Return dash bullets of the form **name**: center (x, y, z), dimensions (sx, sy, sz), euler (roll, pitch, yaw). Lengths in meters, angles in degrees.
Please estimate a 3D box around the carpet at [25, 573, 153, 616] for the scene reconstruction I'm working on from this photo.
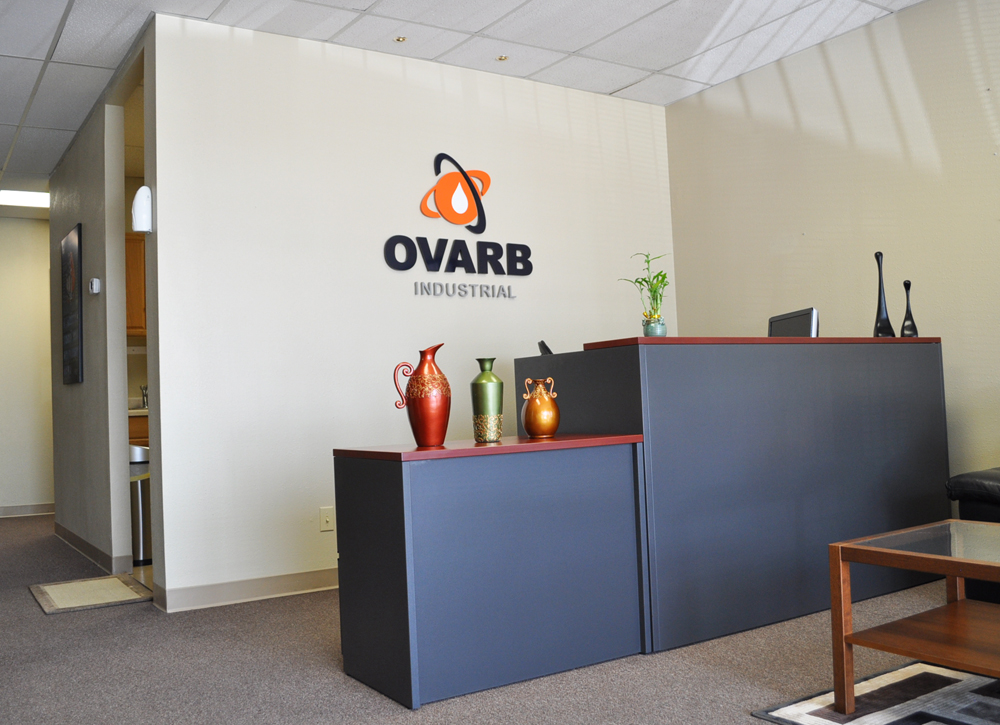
- **carpet**: center (-2.850, 1.592, 5.136), dimensions (0.662, 0.055, 1.015), euler (-2, 0, -37)

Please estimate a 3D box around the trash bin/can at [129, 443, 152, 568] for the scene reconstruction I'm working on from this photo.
- **trash bin/can**: center (-2.869, 1.133, 5.873), dimensions (0.138, 0.969, 0.236), euler (-2, -1, -28)

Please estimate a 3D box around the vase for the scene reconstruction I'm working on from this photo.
- **vase**: center (-0.157, 0.141, 3.712), dimensions (0.710, 0.364, 0.670), euler (-2, -1, -23)

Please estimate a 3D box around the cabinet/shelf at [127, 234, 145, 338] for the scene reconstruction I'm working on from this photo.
- **cabinet/shelf**: center (-3.760, -0.835, 7.610), dimensions (0.168, 1.061, 0.450), euler (-2, -1, -24)
